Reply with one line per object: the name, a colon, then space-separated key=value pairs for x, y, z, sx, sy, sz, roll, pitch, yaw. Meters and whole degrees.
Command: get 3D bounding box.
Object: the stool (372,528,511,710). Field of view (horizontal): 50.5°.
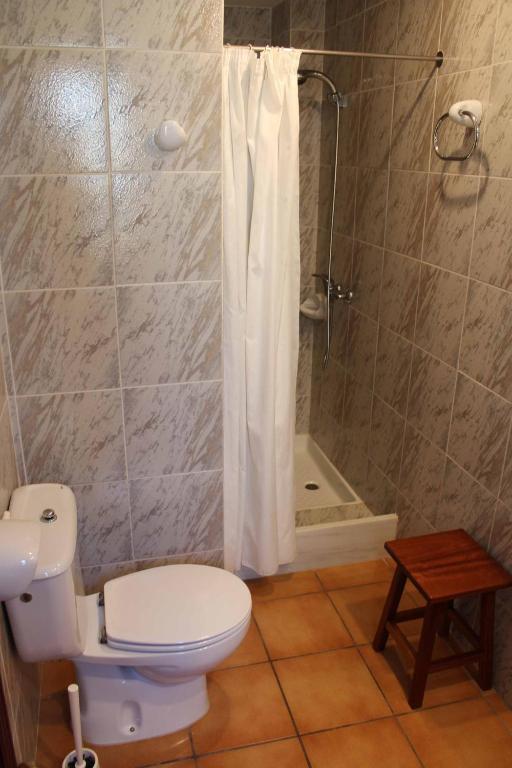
stool: x=0.590 y=0.748 z=1.739 sx=0.325 sy=0.464 sz=0.399 roll=-2 pitch=13 yaw=-11
